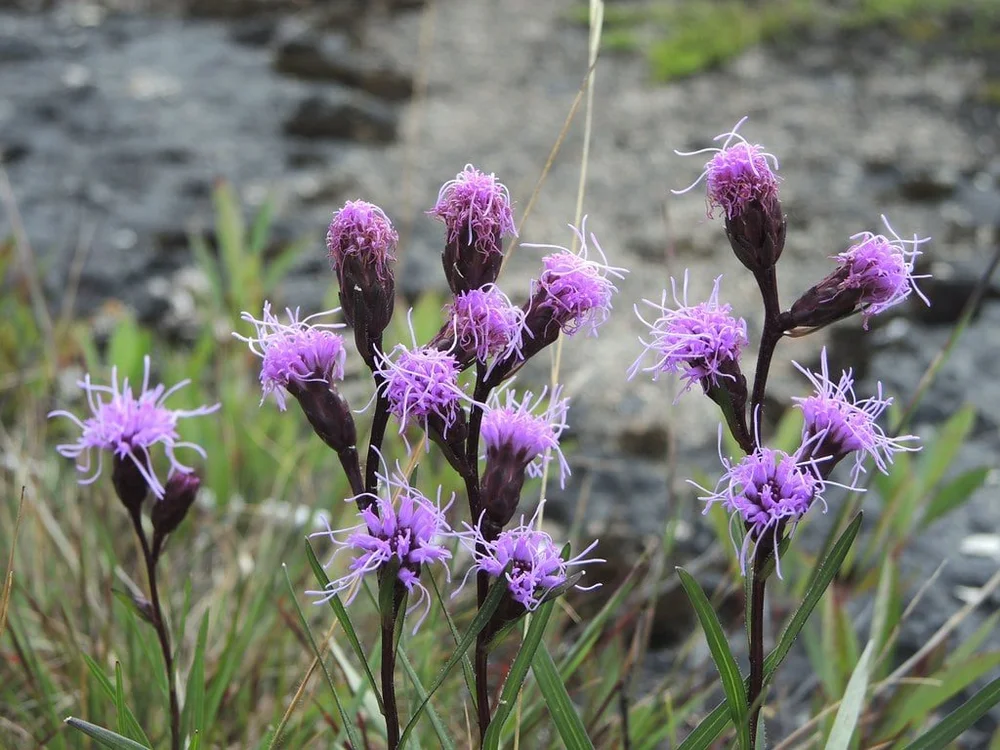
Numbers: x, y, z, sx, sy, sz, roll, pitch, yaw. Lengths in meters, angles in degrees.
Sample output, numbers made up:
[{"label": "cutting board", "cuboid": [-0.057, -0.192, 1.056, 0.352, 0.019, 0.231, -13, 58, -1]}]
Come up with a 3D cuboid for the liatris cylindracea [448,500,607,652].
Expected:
[{"label": "liatris cylindracea", "cuboid": [0.031, 0.228, 1.312, 0.149, 0.104, 0.162, 27, 35, -2]}]

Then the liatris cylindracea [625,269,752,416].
[{"label": "liatris cylindracea", "cuboid": [0.252, -0.050, 1.318, 0.134, 0.164, 0.197, 16, 36, 13]}]

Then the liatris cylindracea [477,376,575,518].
[{"label": "liatris cylindracea", "cuboid": [0.025, 0.105, 1.322, 0.144, 0.192, 0.137, 7, -8, 12]}]

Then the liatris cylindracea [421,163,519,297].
[{"label": "liatris cylindracea", "cuboid": [-0.027, -0.200, 1.333, 0.113, 0.150, 0.193, 14, 36, 10]}]

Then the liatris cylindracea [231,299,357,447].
[{"label": "liatris cylindracea", "cuboid": [-0.240, -0.007, 1.313, 0.101, 0.196, 0.117, -2, 4, 43]}]

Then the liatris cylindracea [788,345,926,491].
[{"label": "liatris cylindracea", "cuboid": [0.419, 0.054, 1.295, 0.133, 0.114, 0.167, -17, -17, -12]}]

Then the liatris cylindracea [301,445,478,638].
[{"label": "liatris cylindracea", "cuboid": [-0.121, 0.226, 1.283, 0.211, 0.153, 0.255, 15, -10, 7]}]

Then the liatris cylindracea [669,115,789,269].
[{"label": "liatris cylindracea", "cuboid": [0.300, -0.218, 1.308, 0.113, 0.195, 0.102, -9, -9, 5]}]

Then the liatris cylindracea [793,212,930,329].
[{"label": "liatris cylindracea", "cuboid": [0.452, -0.126, 1.293, 0.139, 0.095, 0.085, -10, 6, 22]}]

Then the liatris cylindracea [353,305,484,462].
[{"label": "liatris cylindracea", "cuboid": [-0.099, 0.001, 1.269, 0.110, 0.147, 0.176, -8, 38, -21]}]

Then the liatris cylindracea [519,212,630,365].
[{"label": "liatris cylindracea", "cuboid": [0.091, -0.107, 1.296, 0.093, 0.123, 0.144, 22, 38, 21]}]

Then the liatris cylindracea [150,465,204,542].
[{"label": "liatris cylindracea", "cuboid": [-0.433, 0.163, 1.373, 0.038, 0.129, 0.039, 23, -1, -21]}]
